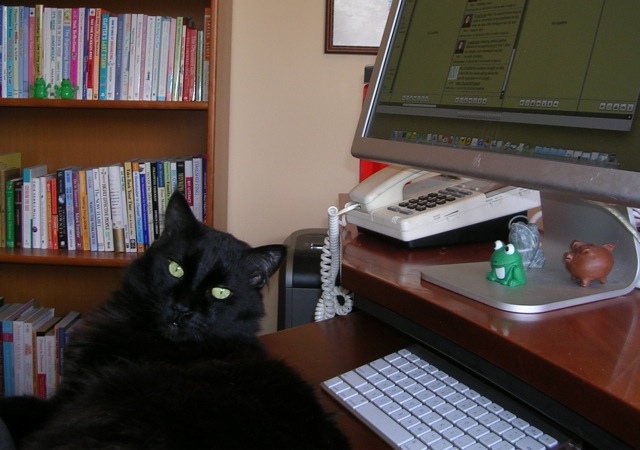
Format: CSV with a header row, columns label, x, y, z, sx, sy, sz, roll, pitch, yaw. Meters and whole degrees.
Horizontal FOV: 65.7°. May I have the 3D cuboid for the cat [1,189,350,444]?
label,x,y,z,sx,sy,sz,roll,pitch,yaw
cat,-0.226,0.155,0.844,0.464,0.327,0.494,0,16,-9

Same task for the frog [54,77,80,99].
label,x,y,z,sx,sy,sz,roll,pitch,yaw
frog,-0.896,-0.476,1.762,0.093,0.076,0.075,2,-8,-20

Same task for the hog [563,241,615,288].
label,x,y,z,sx,sy,sz,roll,pitch,yaw
hog,0.438,0.062,0.822,0.044,0.070,0.066,2,20,5

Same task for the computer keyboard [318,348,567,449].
label,x,y,z,sx,sy,sz,roll,pitch,yaw
computer keyboard,0.161,0.262,0.700,0.177,0.045,0.282,-9,19,-35

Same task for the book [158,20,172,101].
label,x,y,z,sx,sy,sz,roll,pitch,yaw
book,-0.557,-0.590,1.766,0.035,0.272,0.062,7,18,16

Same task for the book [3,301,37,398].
label,x,y,z,sx,sy,sz,roll,pitch,yaw
book,-1.095,0.465,1.797,0.065,0.291,0.200,-8,20,-13
